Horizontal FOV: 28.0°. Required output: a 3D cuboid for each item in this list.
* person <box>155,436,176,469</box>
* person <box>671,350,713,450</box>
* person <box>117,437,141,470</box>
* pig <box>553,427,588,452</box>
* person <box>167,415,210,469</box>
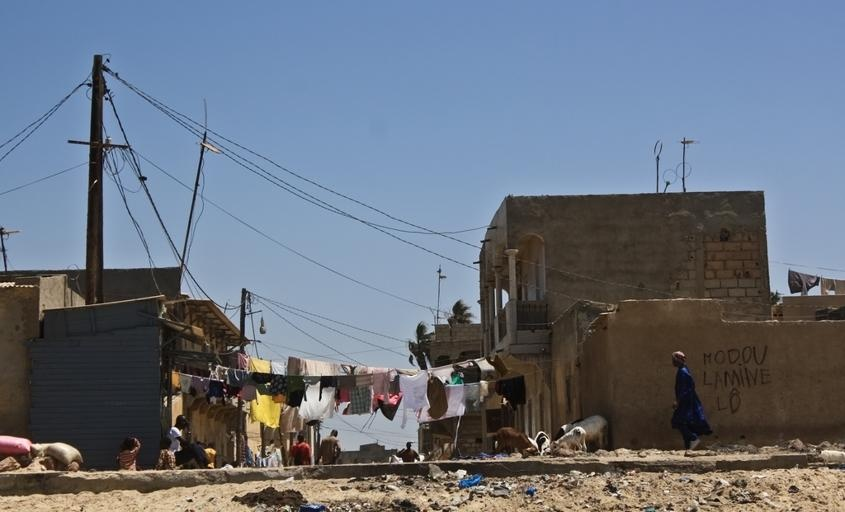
[{"bbox_3d":[-6.218,4.769,40.957,0.452,0.898,1.420,1,-13,-8],"label":"person"},{"bbox_3d":[6.314,3.458,40.409,0.899,2.331,0.586,3,-13,-16],"label":"person"},{"bbox_3d":[-7.176,4.790,41.122,0.475,0.832,0.726,2,-13,-11],"label":"person"},{"bbox_3d":[3.564,4.417,40.964,0.927,0.664,0.791,2,-13,-9],"label":"pig"},{"bbox_3d":[-5.822,4.552,41.497,0.835,1.350,1.345,7,-15,-30],"label":"person"}]
